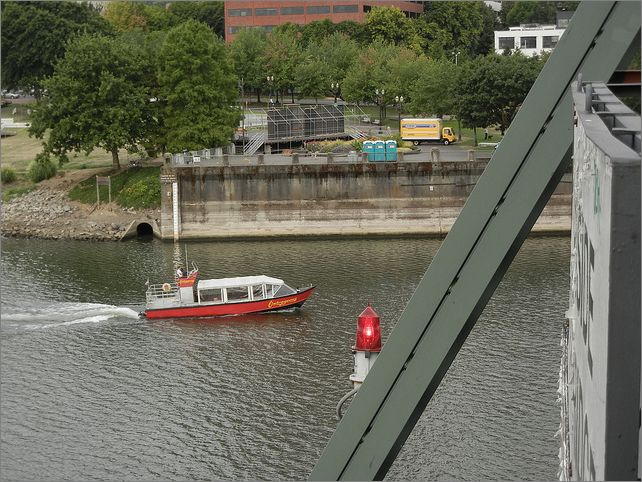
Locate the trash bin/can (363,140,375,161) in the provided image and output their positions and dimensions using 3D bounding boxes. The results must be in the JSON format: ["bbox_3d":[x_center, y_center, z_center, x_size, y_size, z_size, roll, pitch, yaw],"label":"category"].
[{"bbox_3d":[3.520,-6.559,77.246,0.843,1.323,1.045,-1,21,3],"label":"trash bin/can"}]

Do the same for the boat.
[{"bbox_3d":[-5.828,2.818,60.189,8.942,2.410,3.247,-4,22,-4],"label":"boat"}]

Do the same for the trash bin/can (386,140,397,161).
[{"bbox_3d":[5.170,-6.516,77.032,0.928,1.599,1.006,-5,20,-8],"label":"trash bin/can"}]

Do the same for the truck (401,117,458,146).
[{"bbox_3d":[9.761,-9.995,95.477,5.369,3.328,2.272,2,5,4],"label":"truck"}]
